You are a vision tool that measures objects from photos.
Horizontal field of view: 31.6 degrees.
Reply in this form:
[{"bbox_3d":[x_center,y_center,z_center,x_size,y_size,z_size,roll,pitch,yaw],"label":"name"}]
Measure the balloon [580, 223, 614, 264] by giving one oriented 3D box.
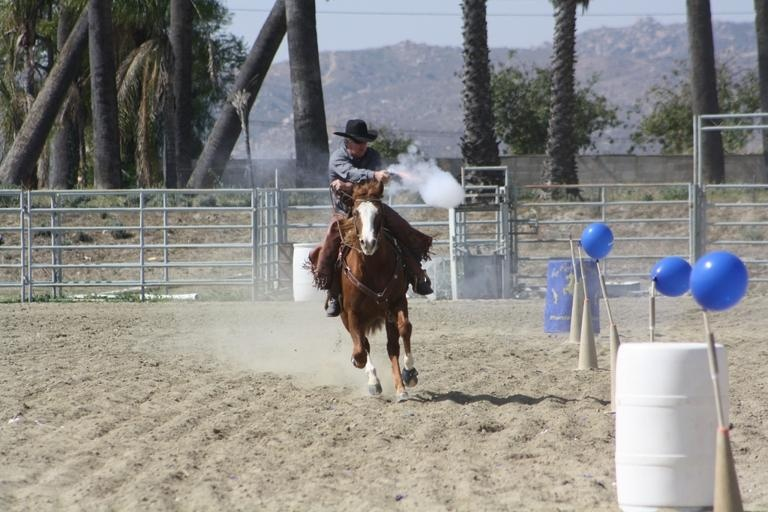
[{"bbox_3d":[5.023,-0.376,32.069,0.776,0.987,0.827,1,-13,-8],"label":"balloon"}]
